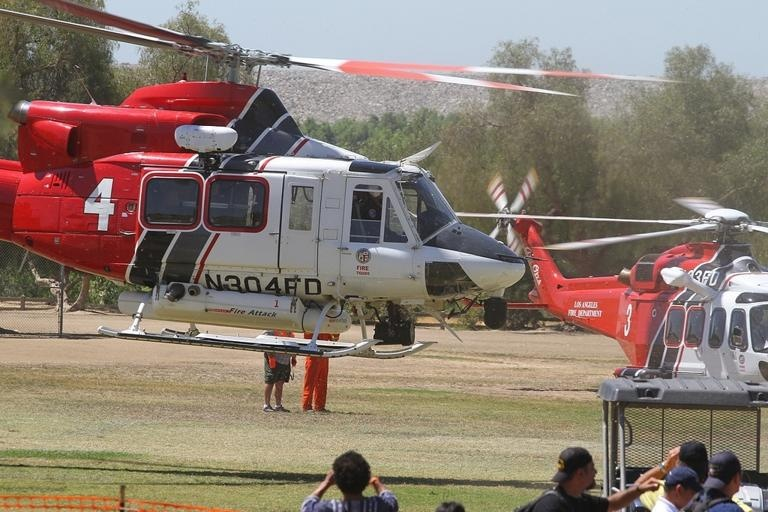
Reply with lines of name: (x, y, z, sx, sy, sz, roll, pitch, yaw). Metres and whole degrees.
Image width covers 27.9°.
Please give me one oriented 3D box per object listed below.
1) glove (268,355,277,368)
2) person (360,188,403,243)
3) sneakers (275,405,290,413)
glove: (-3.510, 3.260, 47.929, 0.336, 0.367, 0.109, 0, 24, -4)
person: (0.091, -1.126, 44.717, 1.389, 1.397, 0.418, -1, -2, 5)
sneakers: (-3.189, 4.819, 48.720, 0.581, 0.190, 0.171, 4, 6, -3)
